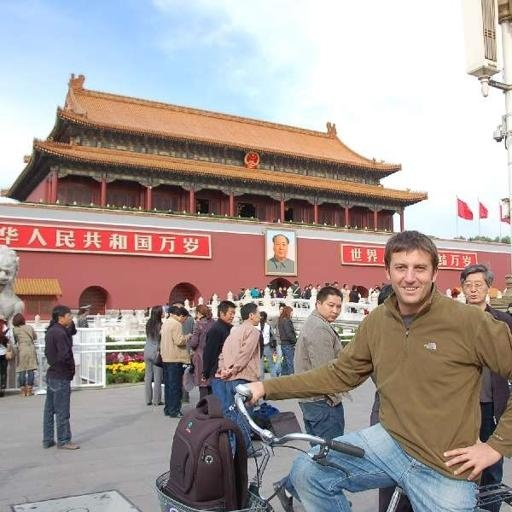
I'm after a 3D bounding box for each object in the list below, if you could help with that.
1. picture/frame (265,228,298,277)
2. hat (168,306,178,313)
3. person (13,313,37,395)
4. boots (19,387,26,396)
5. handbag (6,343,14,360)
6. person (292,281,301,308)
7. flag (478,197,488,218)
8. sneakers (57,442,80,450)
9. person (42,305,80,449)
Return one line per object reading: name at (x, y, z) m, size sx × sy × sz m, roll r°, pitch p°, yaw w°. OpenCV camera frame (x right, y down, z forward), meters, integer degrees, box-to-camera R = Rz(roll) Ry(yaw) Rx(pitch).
picture/frame at (0.864, -0.095, 21.419) m, size 1.443 × 1.996 × 0.125 m, roll 3°, pitch -7°, yaw -33°
hat at (-0.977, 0.618, 6.939) m, size 0.075 × 0.108 × 0.104 m, roll 2°, pitch -19°, yaw -1°
person at (-3.112, 1.325, 7.975) m, size 0.299 × 1.121 × 0.465 m, roll 1°, pitch -6°, yaw -24°
boots at (-3.147, 1.838, 8.013) m, size 0.108 × 0.146 × 0.075 m, roll 3°, pitch -4°, yaw 11°
handbag at (-3.222, 1.250, 7.744) m, size 0.069 × 0.196 × 0.153 m, roll -2°, pitch -6°, yaw -2°
person at (1.287, 1.224, 18.621) m, size 0.331 × 0.923 × 0.260 m, roll 1°, pitch -29°, yaw -5°
flag at (9.532, -1.894, 24.864) m, size 0.218 × 0.684 × 0.621 m, roll -5°, pitch -7°, yaw 31°
sneakers at (-1.578, 1.609, 5.007) m, size 0.173 × 0.094 × 0.069 m, roll 1°, pitch -6°, yaw -6°
person at (-1.693, 1.044, 5.142) m, size 0.287 × 1.215 × 0.487 m, roll 0°, pitch -6°, yaw -20°
